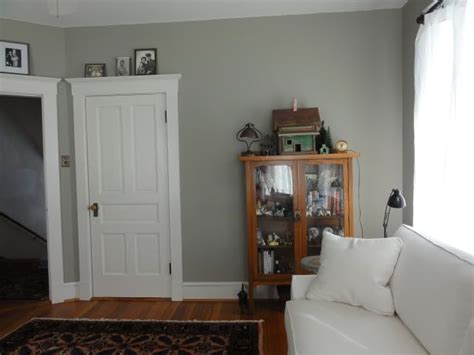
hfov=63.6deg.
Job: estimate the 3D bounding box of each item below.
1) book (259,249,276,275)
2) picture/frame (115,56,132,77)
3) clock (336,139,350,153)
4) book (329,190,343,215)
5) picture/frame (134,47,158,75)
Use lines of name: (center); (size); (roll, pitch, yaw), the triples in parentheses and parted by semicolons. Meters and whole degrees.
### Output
book: (0.337, 0.904, 4.316); (0.202, 0.393, 0.287); (0, -4, 5)
picture/frame: (-1.353, -1.343, 4.582); (0.241, 0.326, 0.033); (2, -1, -2)
clock: (1.141, -0.350, 4.203); (0.123, 0.120, 0.088); (4, 14, 22)
book: (1.084, 0.267, 4.177); (0.145, 0.274, 0.055); (3, 14, 17)
picture/frame: (-1.071, -1.394, 4.556); (0.305, 0.378, 0.028); (2, -1, 1)
